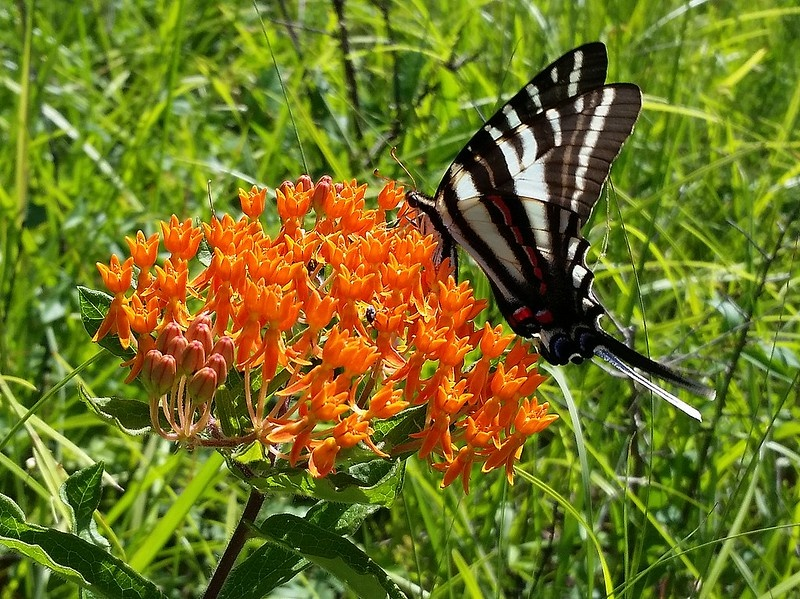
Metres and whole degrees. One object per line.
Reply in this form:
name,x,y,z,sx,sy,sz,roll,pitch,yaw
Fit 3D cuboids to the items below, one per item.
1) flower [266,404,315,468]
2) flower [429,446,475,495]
flower,-0.331,0.403,2.892,0.155,0.067,0.163,-35,89,2
flower,0.162,0.541,3.013,0.126,0.059,0.123,-35,69,-18
